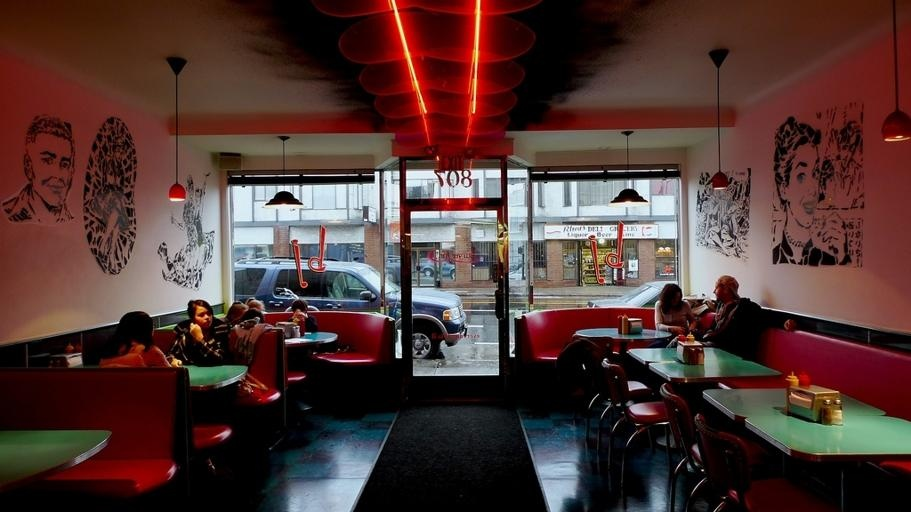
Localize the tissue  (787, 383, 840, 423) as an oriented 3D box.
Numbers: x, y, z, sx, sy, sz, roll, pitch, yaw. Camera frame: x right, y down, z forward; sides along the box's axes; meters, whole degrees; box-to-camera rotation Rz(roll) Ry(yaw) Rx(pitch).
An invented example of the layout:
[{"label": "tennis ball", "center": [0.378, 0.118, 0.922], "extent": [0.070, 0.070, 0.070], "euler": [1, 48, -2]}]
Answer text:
[{"label": "tissue ", "center": [3.556, 1.458, 6.110], "extent": [0.409, 0.279, 0.391], "euler": [1, -3, -10]}]

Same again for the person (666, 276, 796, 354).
[{"label": "person", "center": [3.906, 1.062, 8.997], "extent": [1.001, 1.432, 0.859], "euler": [3, 1, 29]}]

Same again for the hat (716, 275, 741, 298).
[{"label": "hat", "center": [3.923, 0.473, 8.948], "extent": [0.390, 0.351, 0.295], "euler": [5, -4, 33]}]

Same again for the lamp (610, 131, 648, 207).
[{"label": "lamp", "center": [2.972, -1.487, 10.312], "extent": [0.568, 1.283, 1.054], "euler": [3, 15, 16]}]

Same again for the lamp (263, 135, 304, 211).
[{"label": "lamp", "center": [-3.001, -1.433, 10.449], "extent": [0.610, 1.242, 1.220], "euler": [-5, 15, -16]}]

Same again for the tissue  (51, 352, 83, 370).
[{"label": "tissue ", "center": [-4.978, 1.333, 7.816], "extent": [0.261, 0.151, 0.337], "euler": [1, -3, 1]}]

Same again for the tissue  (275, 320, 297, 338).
[{"label": "tissue ", "center": [-2.467, 1.087, 8.942], "extent": [0.234, 0.181, 0.278], "euler": [1, -3, -31]}]

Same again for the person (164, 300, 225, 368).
[{"label": "person", "center": [-3.314, 1.021, 7.847], "extent": [0.856, 0.826, 0.601], "euler": [1, 4, -18]}]

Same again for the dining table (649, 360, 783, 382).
[{"label": "dining table", "center": [3.050, 1.403, 7.275], "extent": [1.340, 0.199, 0.586], "euler": [-1, 13, -5]}]

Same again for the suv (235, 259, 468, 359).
[{"label": "suv", "center": [-1.846, 0.837, 10.909], "extent": [3.928, 1.427, 1.658], "euler": [-1, 1, 2]}]

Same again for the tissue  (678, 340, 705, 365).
[{"label": "tissue ", "center": [2.903, 1.182, 7.546], "extent": [0.259, 0.251, 0.426], "euler": [-1, 0, 4]}]

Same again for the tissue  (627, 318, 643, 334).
[{"label": "tissue ", "center": [2.602, 1.014, 8.887], "extent": [0.225, 0.177, 0.255], "euler": [1, -4, 0]}]
